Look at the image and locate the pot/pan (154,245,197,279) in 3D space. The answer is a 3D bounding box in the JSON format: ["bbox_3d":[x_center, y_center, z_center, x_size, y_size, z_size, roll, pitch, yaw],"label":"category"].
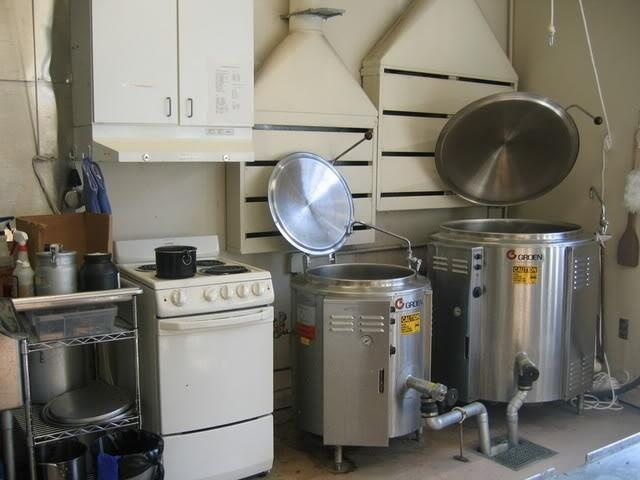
[{"bbox_3d":[-0.719,0.092,2.877,0.155,0.136,0.171,0,2,-27],"label":"pot/pan"}]

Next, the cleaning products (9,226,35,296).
[{"bbox_3d":[-1.375,0.096,2.652,0.143,0.280,0.072,20,16,23],"label":"cleaning products"}]
